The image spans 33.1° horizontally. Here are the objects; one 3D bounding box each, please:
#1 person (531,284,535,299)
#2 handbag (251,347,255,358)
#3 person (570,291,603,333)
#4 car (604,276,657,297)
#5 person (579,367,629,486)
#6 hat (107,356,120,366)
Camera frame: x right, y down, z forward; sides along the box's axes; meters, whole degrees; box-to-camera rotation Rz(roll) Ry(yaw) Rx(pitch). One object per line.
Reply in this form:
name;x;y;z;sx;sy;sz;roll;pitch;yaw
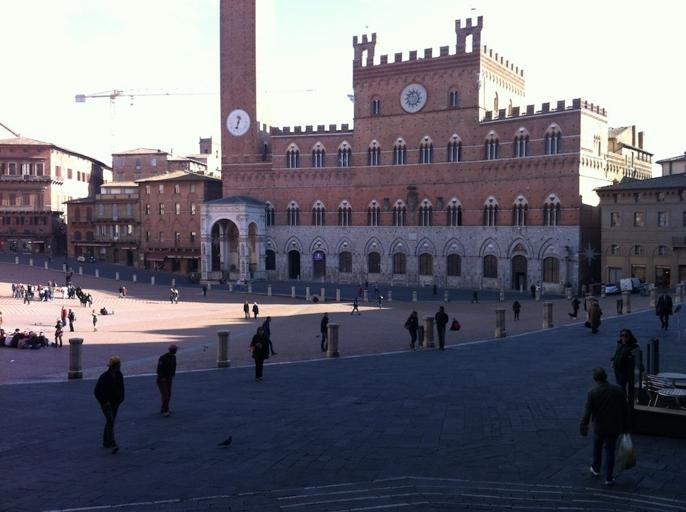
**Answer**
person;13.761;2.710;83.784;0.337;0.871;1.025;-2;8;9
handbag;-4.127;4.515;52.816;0.152;0.603;0.546;-4;8;-9
person;13.883;3.367;66.162;1.209;2.078;0.729;-14;27;-30
car;20.475;2.420;82.650;2.988;1.068;1.461;-11;9;-32
person;10.084;6.624;44.700;1.579;4.262;1.151;1;9;27
hat;-9.442;4.456;47.391;0.425;0.529;0.551;2;15;2
